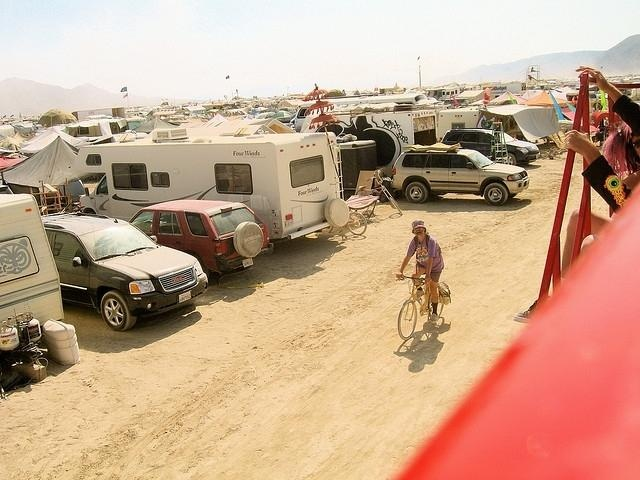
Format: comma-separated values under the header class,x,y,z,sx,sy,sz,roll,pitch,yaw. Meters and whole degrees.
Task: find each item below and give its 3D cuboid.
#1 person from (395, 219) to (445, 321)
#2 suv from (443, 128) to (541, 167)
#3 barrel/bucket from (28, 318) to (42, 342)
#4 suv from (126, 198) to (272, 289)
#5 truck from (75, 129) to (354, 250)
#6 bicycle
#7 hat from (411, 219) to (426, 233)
class,x,y,z,sx,sy,sz,roll,pitch,yaw
person,2.203,0.699,9.371,1.057,2.341,0.585,-8,14,-4
suv,9.683,-5.426,24.351,6.078,1.791,2.529,0,19,7
barrel/bucket,-6.035,1.963,8.919,0.197,0.443,0.306,-11,14,-13
suv,-3.866,-0.231,12.794,4.369,1.521,2.100,10,16,24
truck,-3.963,-2.215,16.306,9.417,3.087,4.312,4,14,20
bicycle,1.871,1.517,9.467,1.007,1.023,1.985,4,9,43
hat,2.073,-0.331,9.224,0.399,0.192,0.419,-9,8,2
